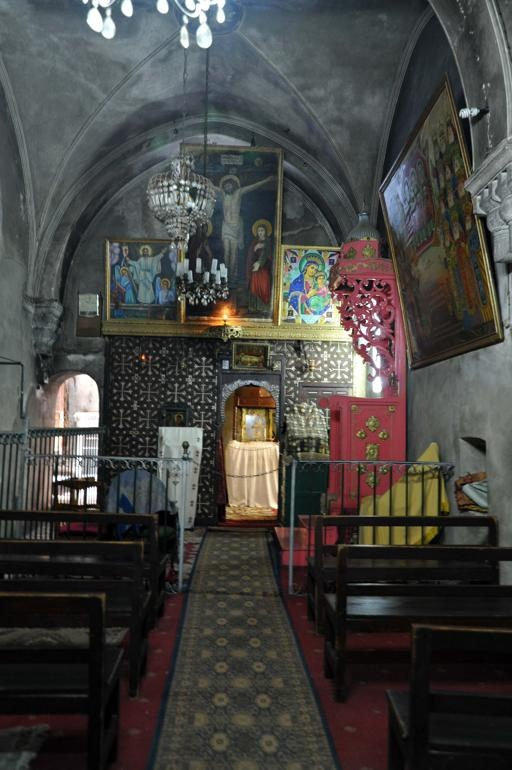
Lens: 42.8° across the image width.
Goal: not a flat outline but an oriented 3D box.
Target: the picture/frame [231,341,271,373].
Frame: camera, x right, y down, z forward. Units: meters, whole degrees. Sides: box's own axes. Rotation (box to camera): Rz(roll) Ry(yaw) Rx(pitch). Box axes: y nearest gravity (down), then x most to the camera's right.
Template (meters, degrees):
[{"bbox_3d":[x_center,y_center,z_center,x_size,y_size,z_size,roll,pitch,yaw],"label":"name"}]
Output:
[{"bbox_3d":[-0.102,-0.528,11.641,0.482,0.440,0.049,1,0,-5],"label":"picture/frame"}]

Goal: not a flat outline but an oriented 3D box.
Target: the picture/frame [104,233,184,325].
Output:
[{"bbox_3d":[-1.879,-1.802,10.973,1.425,1.757,0.121,1,10,1],"label":"picture/frame"}]
